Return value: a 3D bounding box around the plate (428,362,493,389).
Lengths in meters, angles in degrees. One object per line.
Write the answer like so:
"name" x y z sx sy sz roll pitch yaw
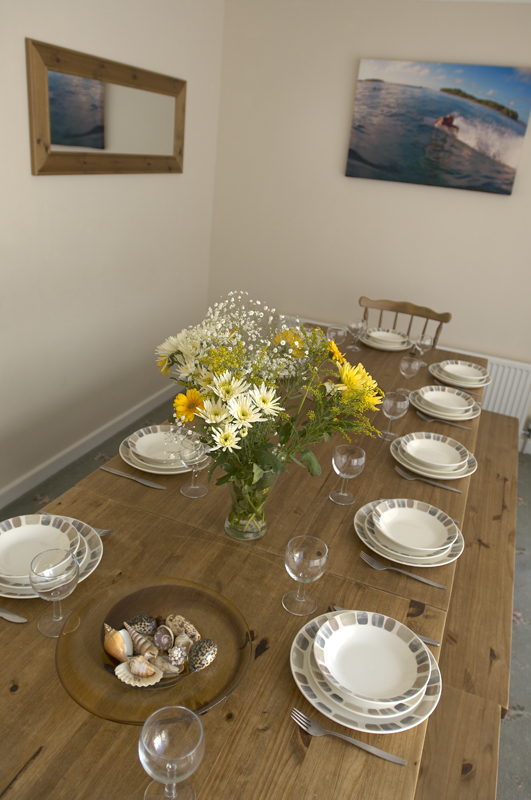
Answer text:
"plate" 0.892 -0.117 2.737 0.177 0.041 0.179 10 36 21

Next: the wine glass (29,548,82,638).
"wine glass" -0.393 0.366 1.116 0.093 0.174 0.094 -17 39 -39

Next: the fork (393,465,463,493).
"fork" 0.501 0.244 1.834 0.129 0.020 0.026 24 40 19

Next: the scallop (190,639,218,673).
"scallop" -0.102 0.461 1.079 0.056 0.040 0.029 -27 -13 3

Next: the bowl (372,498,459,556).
"bowl" 0.387 0.326 1.554 0.135 0.031 0.132 7 31 -4

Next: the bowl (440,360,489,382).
"bowl" 0.933 -0.146 2.808 0.140 0.029 0.141 2 31 -1

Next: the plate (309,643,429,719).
"plate" 0.187 0.485 1.049 0.237 0.049 0.170 6 24 -5

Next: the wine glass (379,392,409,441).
"wine glass" 0.443 0.058 2.083 0.090 0.179 0.091 -10 27 -24

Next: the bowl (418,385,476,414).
"bowl" 0.733 -0.007 2.429 0.149 0.035 0.148 3 30 -2

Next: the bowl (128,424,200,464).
"bowl" -0.298 0.104 1.791 0.154 0.032 0.155 4 30 -2

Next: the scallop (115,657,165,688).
"scallop" -0.204 0.467 1.030 0.055 0.017 0.056 11 22 7

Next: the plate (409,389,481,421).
"plate" 0.717 0.011 2.392 0.179 0.042 0.181 7 36 13

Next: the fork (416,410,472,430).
"fork" 0.675 0.079 2.270 0.147 0.022 0.028 15 37 6

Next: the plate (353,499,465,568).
"plate" 0.364 0.332 1.532 0.191 0.035 0.192 8 33 17

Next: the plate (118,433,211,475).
"plate" -0.335 0.159 1.766 0.164 0.037 0.166 10 33 7

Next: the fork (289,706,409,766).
"fork" 0.139 0.543 0.963 0.146 0.021 0.024 18 30 20

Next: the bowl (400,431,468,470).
"bowl" 0.560 0.165 1.982 0.145 0.033 0.142 6 29 -4

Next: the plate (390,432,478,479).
"plate" 0.551 0.179 1.952 0.180 0.038 0.182 4 33 6

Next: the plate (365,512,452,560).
"plate" 0.374 0.338 1.535 0.115 0.027 0.113 19 30 24
